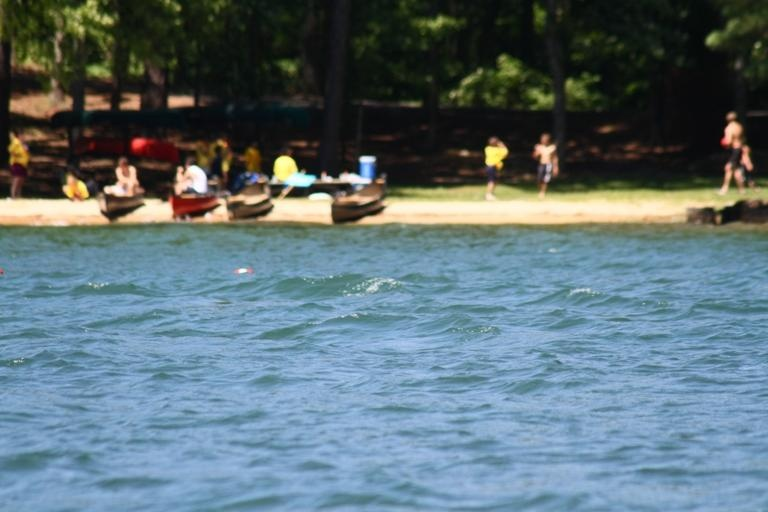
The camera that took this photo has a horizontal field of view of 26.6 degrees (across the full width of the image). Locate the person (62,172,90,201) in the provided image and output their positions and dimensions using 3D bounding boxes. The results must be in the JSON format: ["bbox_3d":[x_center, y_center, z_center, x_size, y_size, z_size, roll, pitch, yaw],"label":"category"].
[{"bbox_3d":[-9.745,-2.239,52.262,0.827,0.601,1.032,-14,-32,9],"label":"person"}]

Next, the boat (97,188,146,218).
[{"bbox_3d":[-8.052,-1.568,50.636,1.480,0.890,0.377,-3,8,-40],"label":"boat"}]

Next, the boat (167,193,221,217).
[{"bbox_3d":[-5.737,-1.600,50.638,1.302,0.646,0.503,-7,-25,-8],"label":"boat"}]

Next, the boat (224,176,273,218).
[{"bbox_3d":[-4.065,-1.733,50.724,1.417,1.234,0.552,2,6,-5],"label":"boat"}]
